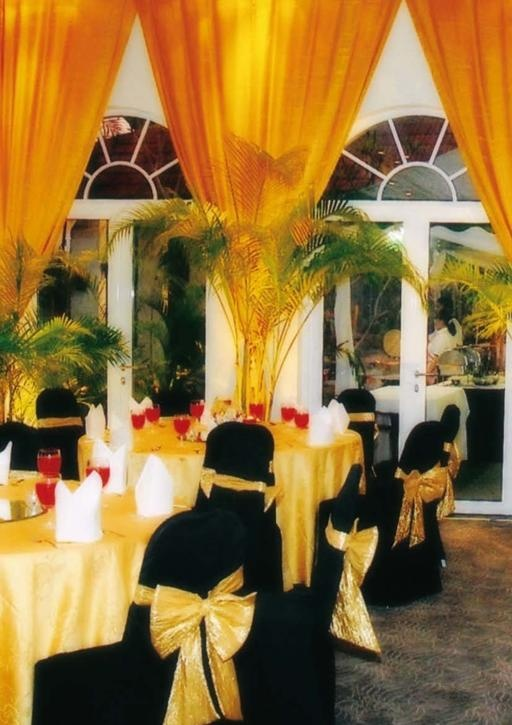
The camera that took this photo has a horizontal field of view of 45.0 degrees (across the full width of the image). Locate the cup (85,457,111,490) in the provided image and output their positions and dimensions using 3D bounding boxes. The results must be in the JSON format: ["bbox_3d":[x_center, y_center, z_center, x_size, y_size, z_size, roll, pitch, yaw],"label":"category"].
[{"bbox_3d":[-0.475,0.339,1.906,0.070,0.090,0.076,0,2,0],"label":"cup"}]

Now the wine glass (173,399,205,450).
[{"bbox_3d":[-0.373,0.344,3.430,0.182,0.171,0.428,0,-2,-3],"label":"wine glass"}]

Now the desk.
[{"bbox_3d":[1.701,0.411,5.086,0.604,0.518,0.650,0,0,13],"label":"desk"}]

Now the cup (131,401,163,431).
[{"bbox_3d":[-0.595,0.249,3.378,0.192,0.174,0.125,-2,2,-14],"label":"cup"}]
